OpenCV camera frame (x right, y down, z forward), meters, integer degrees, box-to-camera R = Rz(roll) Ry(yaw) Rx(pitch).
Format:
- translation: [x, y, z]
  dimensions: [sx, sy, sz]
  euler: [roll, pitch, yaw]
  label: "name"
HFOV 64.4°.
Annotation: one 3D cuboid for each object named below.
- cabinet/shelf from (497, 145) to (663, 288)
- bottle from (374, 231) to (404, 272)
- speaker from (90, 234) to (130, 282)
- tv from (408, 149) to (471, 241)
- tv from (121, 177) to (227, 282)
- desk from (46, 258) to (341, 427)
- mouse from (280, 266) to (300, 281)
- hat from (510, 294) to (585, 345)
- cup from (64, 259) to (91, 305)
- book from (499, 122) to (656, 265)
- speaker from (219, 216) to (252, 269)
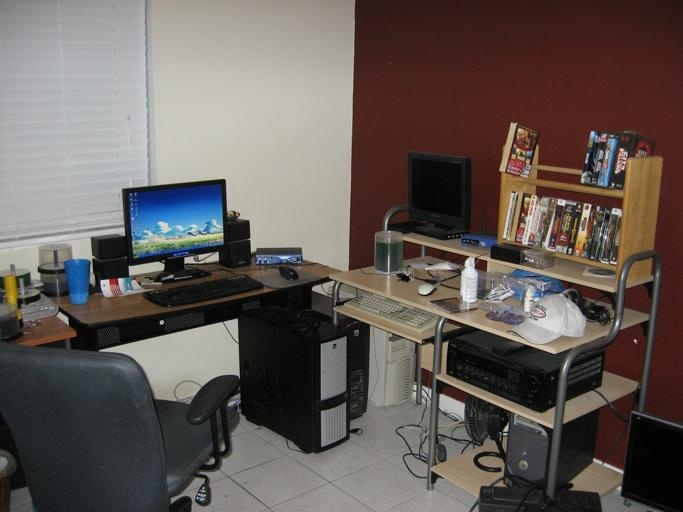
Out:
- translation: [1.228, -0.182, 2.750]
  dimensions: [0.245, 0.527, 0.632]
  euler: [-15, 25, -34]
  label: "cabinet/shelf"
- translation: [0.297, -0.028, 3.345]
  dimensions: [0.150, 0.257, 0.160]
  euler: [-1, 9, 0]
  label: "bottle"
- translation: [-1.296, 0.024, 3.038]
  dimensions: [0.155, 0.219, 0.153]
  euler: [3, 10, -28]
  label: "speaker"
- translation: [0.611, -0.370, 3.348]
  dimensions: [0.171, 0.499, 0.496]
  euler: [-13, 20, -32]
  label: "tv"
- translation: [-0.971, -0.153, 3.148]
  dimensions: [0.554, 0.541, 0.179]
  euler: [-9, 15, -38]
  label: "tv"
- translation: [-0.797, 0.539, 3.028]
  dimensions: [1.080, 0.564, 0.589]
  euler: [-10, 0, -18]
  label: "desk"
- translation: [-0.309, 0.096, 3.211]
  dimensions: [0.068, 0.037, 0.102]
  euler: [-15, 32, -37]
  label: "mouse"
- translation: [0.963, 0.296, 2.529]
  dimensions: [0.315, 0.155, 0.247]
  euler: [-10, 17, -32]
  label: "hat"
- translation: [-1.380, 0.126, 2.844]
  dimensions: [0.116, 0.220, 0.165]
  euler: [-9, 17, -29]
  label: "cup"
- translation: [1.223, -0.300, 2.770]
  dimensions: [0.267, 0.576, 0.628]
  euler: [-17, 26, -37]
  label: "book"
- translation: [-0.671, -0.082, 3.425]
  dimensions: [0.189, 0.283, 0.185]
  euler: [-4, 20, -16]
  label: "speaker"
